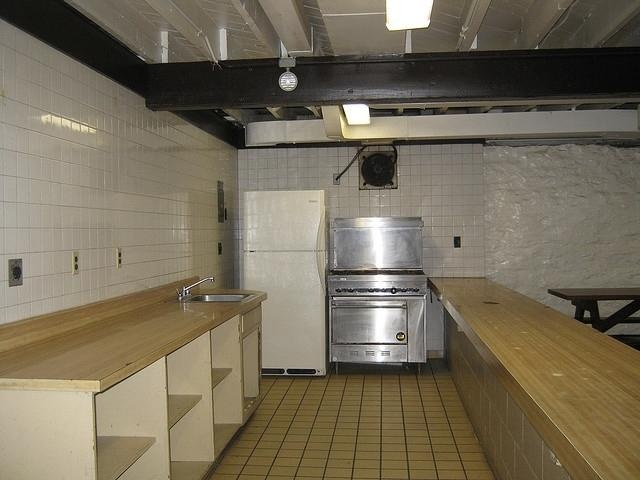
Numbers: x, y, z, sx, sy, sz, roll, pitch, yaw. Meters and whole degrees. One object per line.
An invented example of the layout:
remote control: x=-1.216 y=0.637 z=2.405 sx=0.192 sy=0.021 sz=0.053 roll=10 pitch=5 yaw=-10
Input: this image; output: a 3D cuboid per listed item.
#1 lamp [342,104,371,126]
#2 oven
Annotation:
lamp: x=0.345 y=-1.177 z=4.299 sx=0.244 sy=0.064 sz=0.270 roll=-2 pitch=-5 yaw=17
oven: x=0.562 y=1.009 z=5.305 sx=1.156 sy=0.755 sz=0.637 roll=3 pitch=-5 yaw=-18
